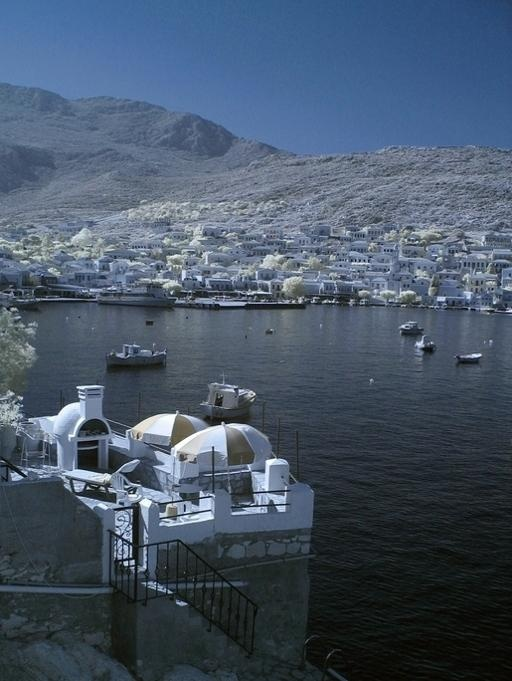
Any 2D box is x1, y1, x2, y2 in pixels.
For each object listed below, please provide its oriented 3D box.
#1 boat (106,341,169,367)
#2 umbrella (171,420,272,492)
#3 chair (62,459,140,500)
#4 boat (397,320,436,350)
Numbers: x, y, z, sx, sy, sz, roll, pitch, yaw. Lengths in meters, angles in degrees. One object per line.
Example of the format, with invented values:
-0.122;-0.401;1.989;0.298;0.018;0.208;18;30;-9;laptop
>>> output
-7.265;0.987;56.050;3.274;1.215;1.607;-4;11;-22;boat
-0.996;2.719;22.205;1.807;1.291;1.946;-2;5;-43;umbrella
-3.230;3.052;19.920;1.323;0.843;1.234;-3;7;-42;chair
14.379;-0.663;83.340;1.692;1.593;5.169;-2;14;-2;boat
